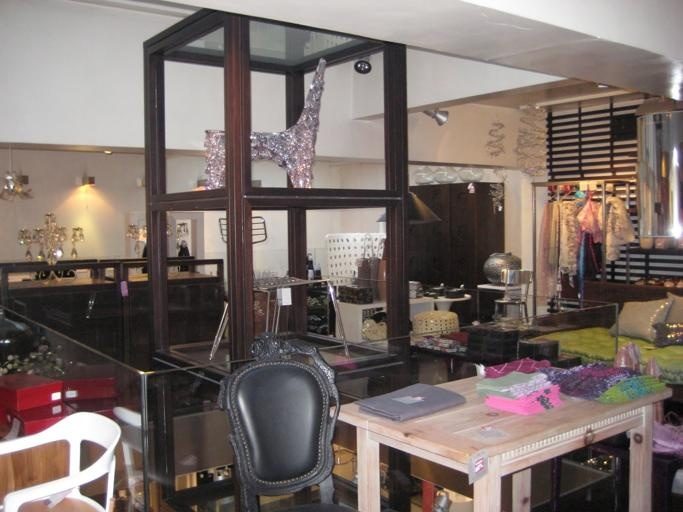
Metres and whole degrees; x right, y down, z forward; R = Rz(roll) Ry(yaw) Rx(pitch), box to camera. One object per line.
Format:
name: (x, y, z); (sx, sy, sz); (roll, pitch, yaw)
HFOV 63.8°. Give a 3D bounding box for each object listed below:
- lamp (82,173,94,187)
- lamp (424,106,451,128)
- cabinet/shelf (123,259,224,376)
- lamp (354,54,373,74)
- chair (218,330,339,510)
lamp: (-4.736, -1.403, 10.252); (0.195, 0.255, 0.345); (3, -3, -32)
lamp: (1.103, -1.641, 6.417); (0.244, 0.195, 0.262); (-3, 4, -9)
cabinet/shelf: (-1.808, 0.597, 6.564); (0.858, 1.111, 0.579); (-2, 6, -17)
lamp: (0.167, -1.567, 4.495); (0.123, 0.121, 0.132); (-3, 46, 13)
chair: (-0.295, 0.777, 2.635); (0.563, 0.778, 0.316); (-4, 4, -13)
